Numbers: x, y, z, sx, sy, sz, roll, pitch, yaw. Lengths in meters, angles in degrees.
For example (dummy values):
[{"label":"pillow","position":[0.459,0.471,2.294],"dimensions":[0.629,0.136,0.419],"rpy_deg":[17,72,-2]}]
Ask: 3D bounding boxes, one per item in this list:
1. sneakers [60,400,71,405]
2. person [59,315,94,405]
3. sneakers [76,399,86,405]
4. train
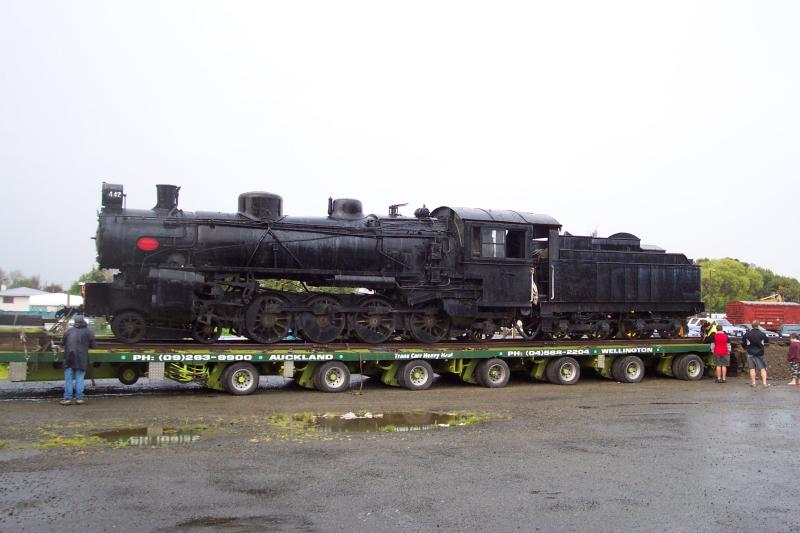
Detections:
[{"label":"sneakers","position":[-8.415,3.395,15.830],"dimensions":[0.329,0.141,0.110],"rpy_deg":[4,1,36]},{"label":"person","position":[-8.208,2.358,15.966],"dimensions":[0.707,2.159,0.582],"rpy_deg":[0,4,-26]},{"label":"sneakers","position":[-8.093,3.413,15.900],"dimensions":[0.115,0.123,0.313],"rpy_deg":[2,-9,-21]},{"label":"train","position":[-1.168,0.321,20.044],"dimensions":[22.832,5.134,3.870],"rpy_deg":[3,-6,-18]}]
